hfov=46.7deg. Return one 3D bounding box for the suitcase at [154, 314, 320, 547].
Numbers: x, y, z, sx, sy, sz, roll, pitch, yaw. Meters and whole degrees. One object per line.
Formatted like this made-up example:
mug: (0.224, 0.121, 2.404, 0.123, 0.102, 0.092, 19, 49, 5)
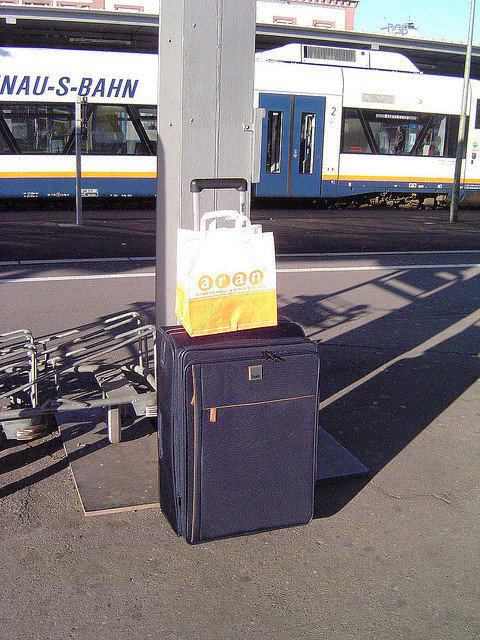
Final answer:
suitcase: (0.006, 0.353, 2.357, 0.625, 0.990, 0.561, -8, 27, -18)
